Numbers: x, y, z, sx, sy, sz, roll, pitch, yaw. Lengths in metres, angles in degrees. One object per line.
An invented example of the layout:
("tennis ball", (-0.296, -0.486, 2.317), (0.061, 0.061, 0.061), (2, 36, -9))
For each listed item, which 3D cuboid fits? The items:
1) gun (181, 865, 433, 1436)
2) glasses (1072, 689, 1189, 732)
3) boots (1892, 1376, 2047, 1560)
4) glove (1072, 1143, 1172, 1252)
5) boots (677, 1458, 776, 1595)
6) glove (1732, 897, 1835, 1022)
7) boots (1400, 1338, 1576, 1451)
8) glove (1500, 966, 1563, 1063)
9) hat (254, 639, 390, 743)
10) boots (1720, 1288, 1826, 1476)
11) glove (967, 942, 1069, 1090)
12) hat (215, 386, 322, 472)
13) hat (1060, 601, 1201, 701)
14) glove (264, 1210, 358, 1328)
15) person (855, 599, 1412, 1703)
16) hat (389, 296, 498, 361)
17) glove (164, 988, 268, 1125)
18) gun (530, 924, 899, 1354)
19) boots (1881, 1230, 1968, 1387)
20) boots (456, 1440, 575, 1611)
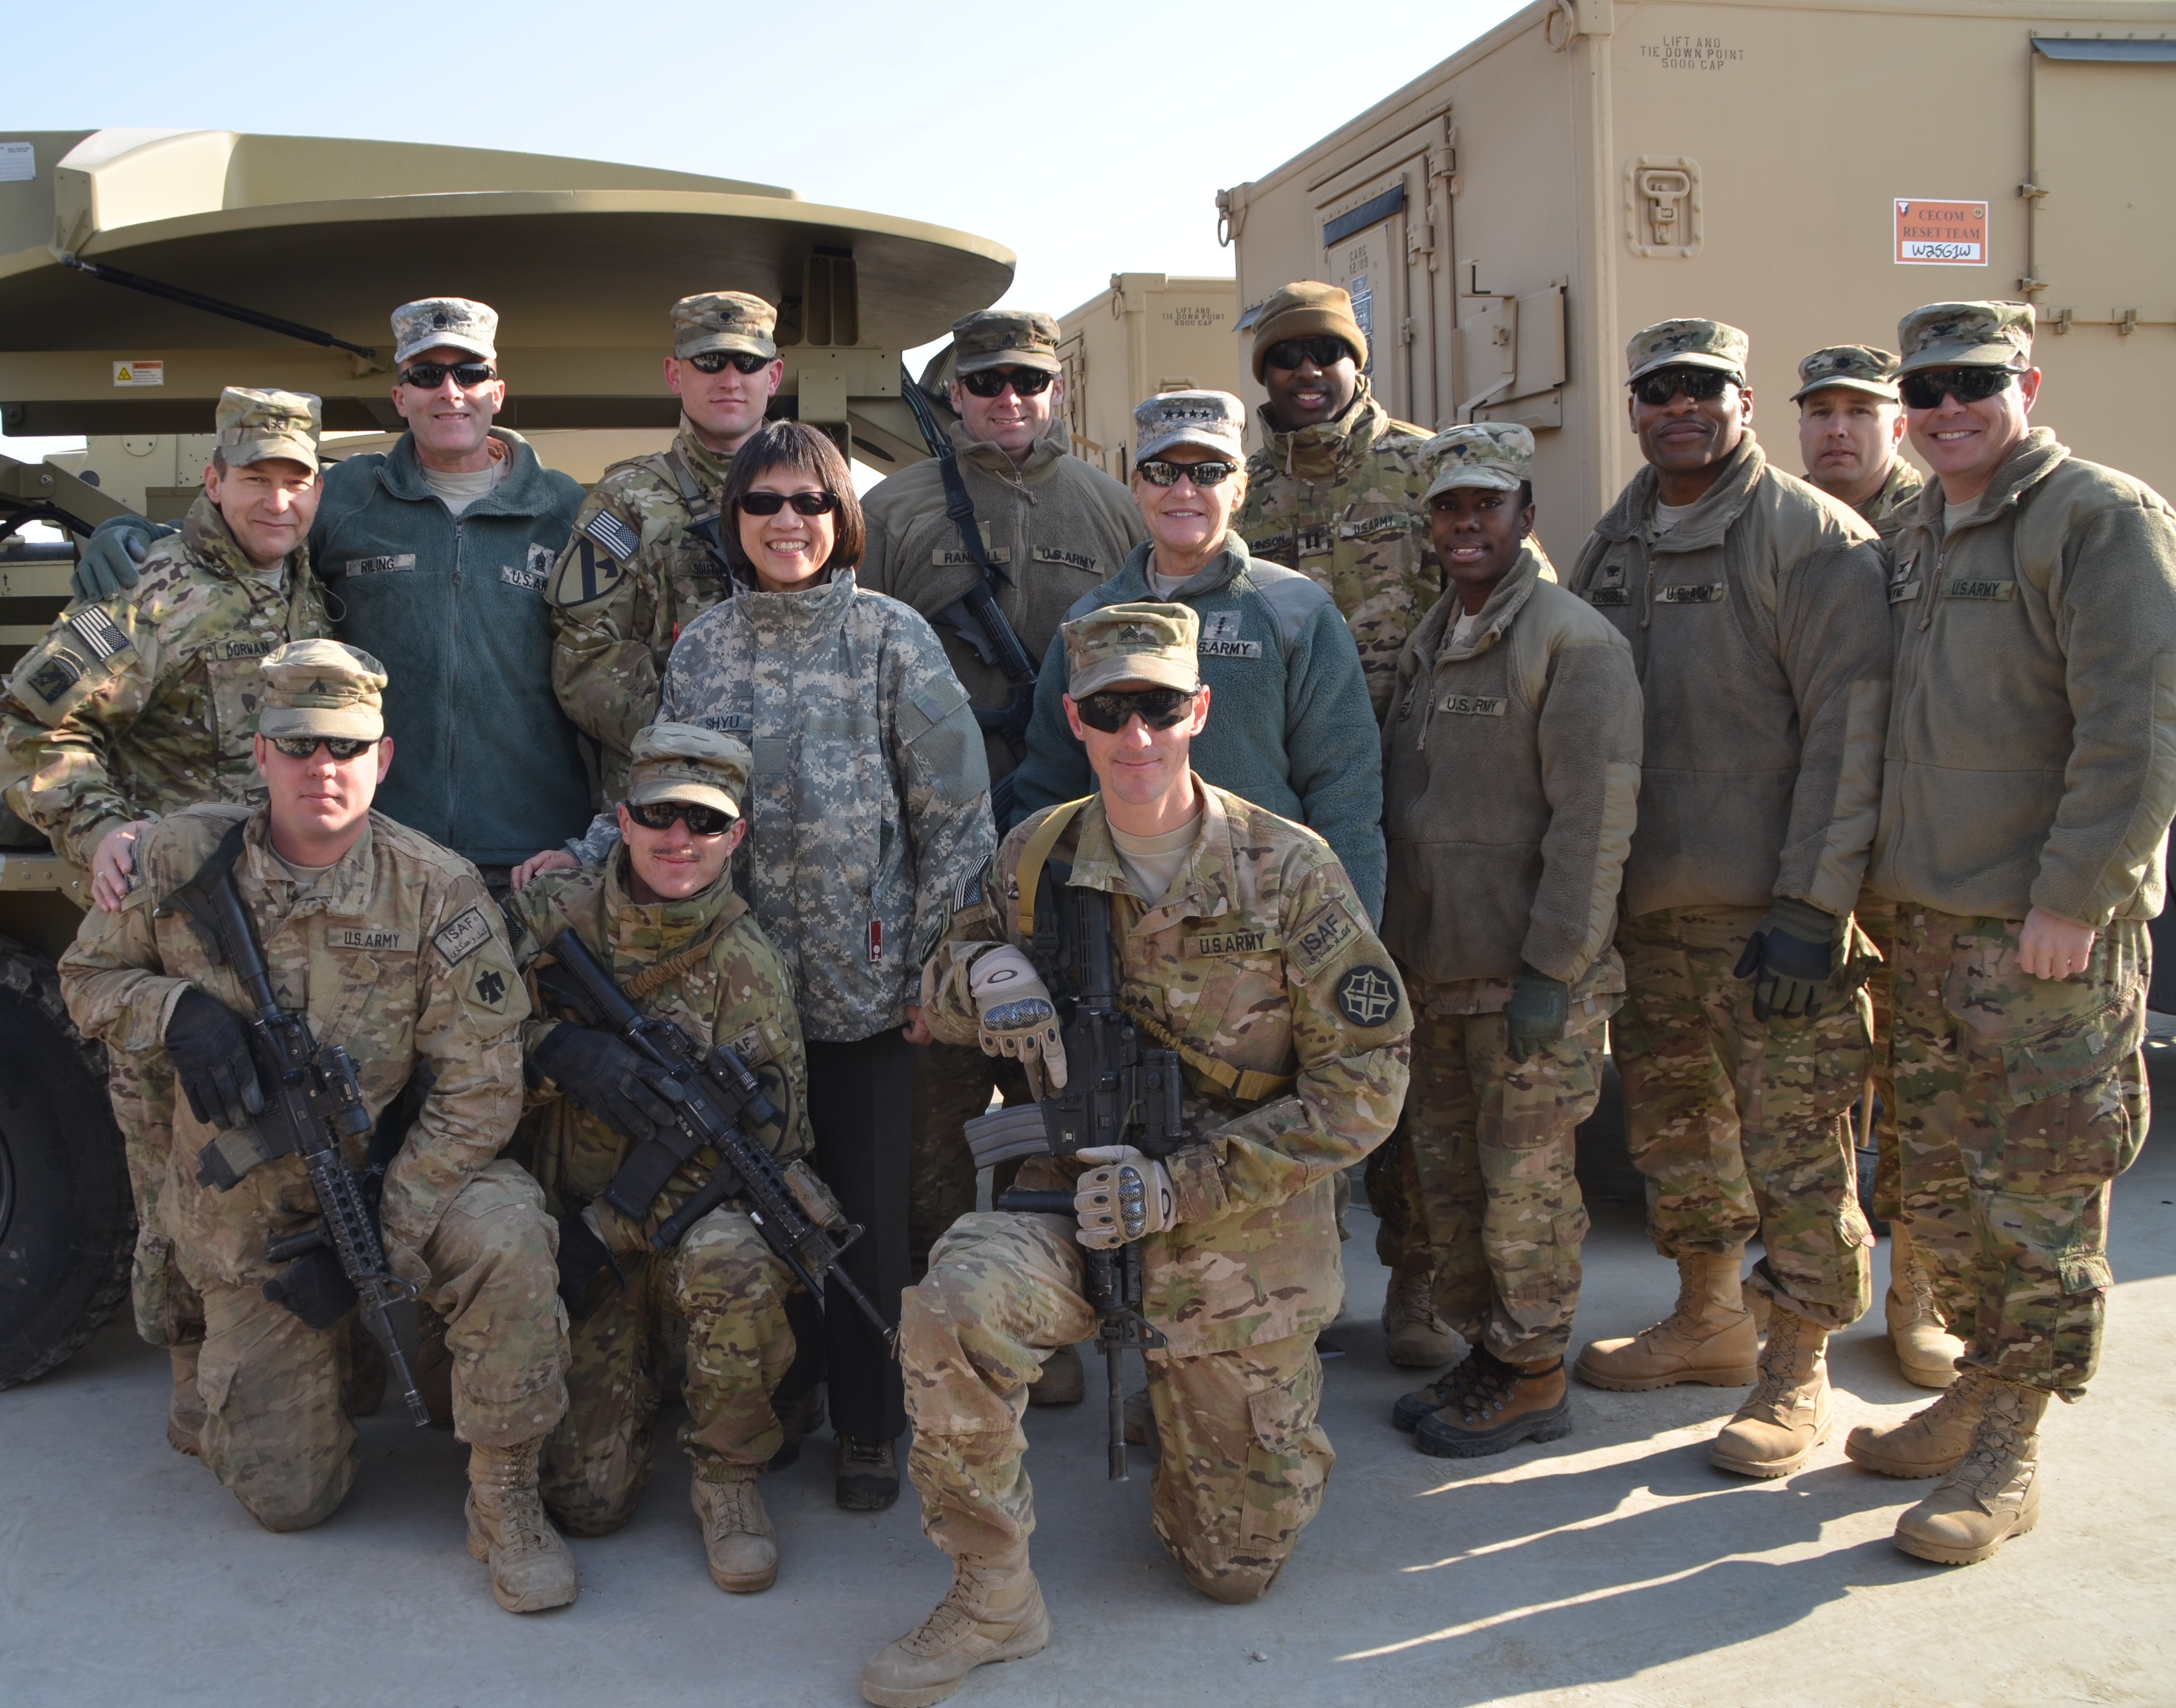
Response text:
("gun", (-1.745, 0.619, 5.671), (0.514, 1.321, 0.194), (-24, -12, 19))
("glasses", (0.104, -0.310, 5.408), (0.135, 0.127, 0.042), (-1, 48, 8))
("boots", (1.959, 1.373, 5.636), (0.173, 0.361, 0.552), (2, 3, 40))
("glove", (0.082, 0.749, 5.397), (0.216, 0.217, 0.176), (-1, 14, -1))
("boots", (-0.772, 1.502, 5.588), (0.126, 0.119, 0.318), (-3, 10, -15))
("glove", (1.655, 0.248, 5.982), (0.219, 0.263, 0.107), (1, 15, 8))
("boots", (0.977, 1.328, 6.174), (0.411, 0.198, 0.275), (-4, 14, -14))
("glove", (1.071, 0.384, 6.067), (0.140, 0.219, 0.081), (3, 15, 16))
("hat", (-1.691, -0.353, 5.630), (0.267, 0.221, 0.159), (-6, 15, -18))
("boots", (1.640, 1.270, 6.072), (0.218, 0.366, 0.585), (6, 6, 28))
("glove", (-0.144, 0.356, 5.573), (0.197, 0.302, 0.097), (-18, -15, 8))
("hat", (-1.968, -1.028, 6.128), (0.251, 0.193, 0.233), (-8, 15, -25))
("hat", (0.098, -0.447, 5.504), (0.273, 0.192, 0.286), (-2, 14, -4))
("glove", (-1.729, 0.947, 5.683), (0.183, 0.285, 0.185), (-5, 15, -16))
("person", (0.131, 0.542, 5.471), (1.161, 2.107, 0.919), (-4, 15, -11))
("hat", (-1.593, -1.333, 6.339), (0.224, 0.115, 0.266), (-1, -3, -13))
("glove", (-1.905, 0.452, 5.591), (0.196, 0.276, 0.083), (-15, -7, -32))
("gun", (-0.881, 0.638, 5.806), (0.491, 1.183, 0.212), (-45, -12, -6))
("boots", (2.131, 1.155, 6.442), (0.169, 0.363, 0.390), (0, 12, 4))
("boots", (-1.237, 1.456, 5.573), (0.179, 0.332, 0.492), (-4, 15, -23))
